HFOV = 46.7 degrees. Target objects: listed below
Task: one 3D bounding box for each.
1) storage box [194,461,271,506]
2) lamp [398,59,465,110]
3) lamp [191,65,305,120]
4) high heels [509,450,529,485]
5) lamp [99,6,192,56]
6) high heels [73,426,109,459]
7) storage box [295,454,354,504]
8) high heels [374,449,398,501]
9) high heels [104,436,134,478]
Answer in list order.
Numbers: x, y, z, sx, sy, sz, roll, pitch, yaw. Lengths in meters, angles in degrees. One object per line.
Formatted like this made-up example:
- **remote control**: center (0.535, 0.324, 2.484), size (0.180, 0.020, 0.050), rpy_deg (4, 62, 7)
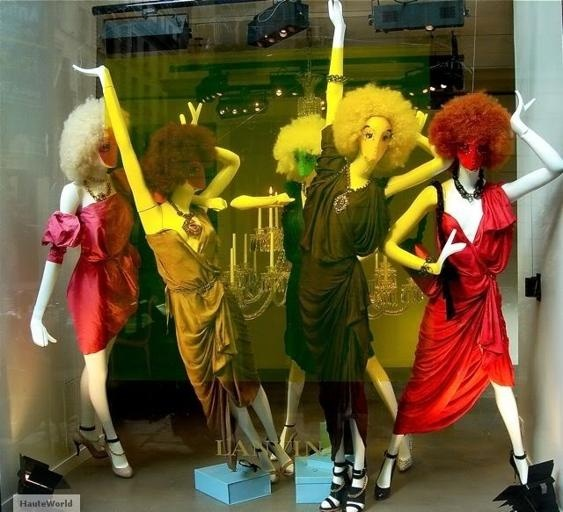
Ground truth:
- **storage box**: center (-0.254, 1.167, 3.466), size (0.257, 0.083, 0.251), rpy_deg (-1, 2, -36)
- **lamp**: center (0.788, -0.909, 3.423), size (0.364, 0.223, 0.103), rpy_deg (6, -4, 8)
- **lamp**: center (-0.197, -0.882, 3.530), size (0.695, 0.257, 0.228), rpy_deg (-1, 0, 7)
- **high heels**: center (1.216, 1.091, 3.385), size (0.066, 0.175, 0.073), rpy_deg (-7, -25, 7)
- **lamp**: center (-0.666, -1.243, 3.704), size (0.763, 0.232, 0.236), rpy_deg (11, 17, 33)
- **high heels**: center (-1.097, 1.075, 3.758), size (0.238, 0.152, 0.082), rpy_deg (19, -26, -31)
- **storage box**: center (0.157, 1.160, 3.424), size (0.239, 0.126, 0.218), rpy_deg (-1, 15, 2)
- **high heels**: center (0.531, 1.139, 3.402), size (0.096, 0.215, 0.154), rpy_deg (1, 13, 20)
- **high heels**: center (-0.910, 1.133, 3.696), size (0.098, 0.279, 0.114), rpy_deg (-19, -19, -38)
